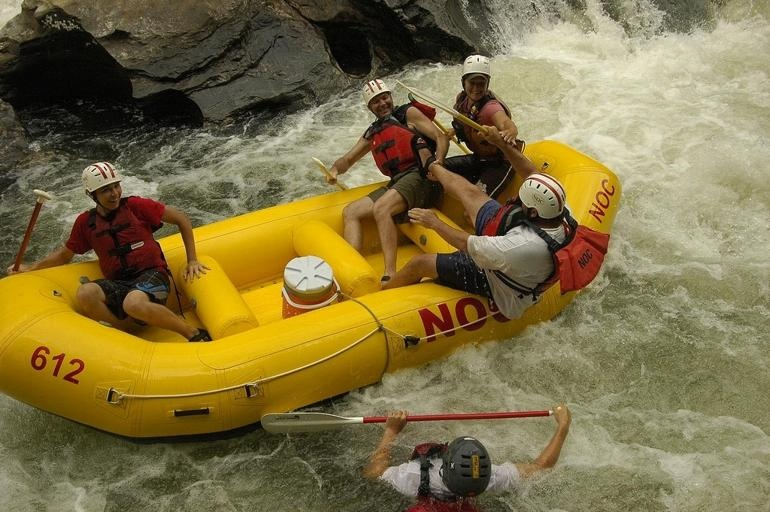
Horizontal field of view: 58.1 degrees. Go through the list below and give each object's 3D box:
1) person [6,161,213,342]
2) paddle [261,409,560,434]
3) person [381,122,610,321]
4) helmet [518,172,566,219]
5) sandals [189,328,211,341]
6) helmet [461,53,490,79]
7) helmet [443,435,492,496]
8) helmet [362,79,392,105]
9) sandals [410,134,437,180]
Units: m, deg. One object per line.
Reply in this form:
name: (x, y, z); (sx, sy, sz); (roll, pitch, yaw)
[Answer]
person: (-2.823, -0.005, 7.045); (1.446, 0.769, 1.510); (-23, 73, -8)
paddle: (0.227, 1.500, 6.265); (2.778, 0.312, 0.185); (-3, -4, 4)
person: (1.129, -0.056, 6.479); (1.672, 1.456, 0.855); (6, 40, 31)
helmet: (1.356, -0.519, 6.094); (0.314, 0.429, 0.332); (-42, 15, -10)
sandals: (-1.705, 0.738, 6.492); (0.227, 0.096, 0.082); (1, 37, -50)
helmet: (0.967, -2.004, 7.287); (0.217, 0.216, 0.295); (0, 10, 3)
helmet: (0.637, 1.637, 5.482); (0.337, 0.453, 0.358); (3, -14, -3)
helmet: (-0.107, -1.811, 7.546); (0.257, 0.231, 0.296); (-18, 33, -1)
sandals: (0.383, -1.058, 7.342); (0.194, 0.416, 0.256); (-16, -8, -37)
